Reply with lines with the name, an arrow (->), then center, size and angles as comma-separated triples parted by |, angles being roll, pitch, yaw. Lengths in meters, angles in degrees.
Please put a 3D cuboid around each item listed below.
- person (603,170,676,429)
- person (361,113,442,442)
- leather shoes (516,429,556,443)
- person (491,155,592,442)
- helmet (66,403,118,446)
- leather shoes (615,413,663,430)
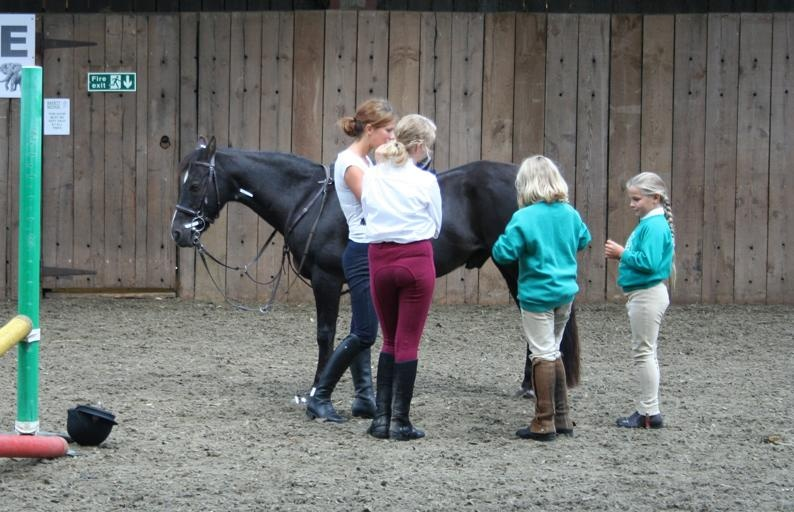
person -> 2.224, 0.398, 11.177 | 0.586, 2.328, 0.381 | -1, 2, 7
person -> 0.043, 0.197, 10.814 | 0.695, 2.876, 0.368 | -1, 2, 1
leather shoes -> 1.240, 1.577, 11.001 | 0.341, 0.146, 0.128 | 4, 2, 19
person -> 1.296, 0.369, 10.950 | 0.802, 2.532, 0.339 | -1, 2, 3
helmet -> -2.678, 1.453, 10.779 | 0.372, 0.282, 0.366 | 4, -3, -31
leather shoes -> 2.203, 1.485, 11.217 | 0.430, 0.180, 0.160 | 2, -2, 8
